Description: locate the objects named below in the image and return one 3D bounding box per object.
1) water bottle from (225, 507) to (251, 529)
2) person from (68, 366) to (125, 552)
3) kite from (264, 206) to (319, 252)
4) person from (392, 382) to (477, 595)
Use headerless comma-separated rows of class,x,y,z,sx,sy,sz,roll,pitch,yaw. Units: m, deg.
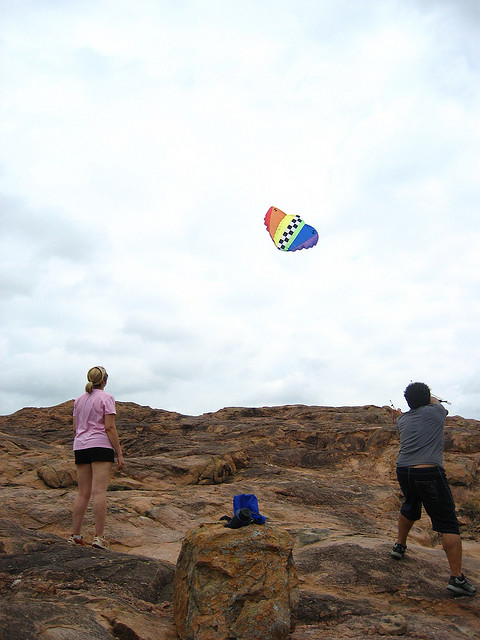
water bottle,-0.014,1.202,3.232,0.179,0.102,0.118,0,-9,-13
person,-1.235,1.135,4.503,0.430,1.494,0.548,1,-10,-17
kite,0.874,-1.781,9.799,0.983,0.918,0.813,-4,-9,17
person,1.508,1.252,4.131,0.382,1.531,0.755,2,-10,-23
